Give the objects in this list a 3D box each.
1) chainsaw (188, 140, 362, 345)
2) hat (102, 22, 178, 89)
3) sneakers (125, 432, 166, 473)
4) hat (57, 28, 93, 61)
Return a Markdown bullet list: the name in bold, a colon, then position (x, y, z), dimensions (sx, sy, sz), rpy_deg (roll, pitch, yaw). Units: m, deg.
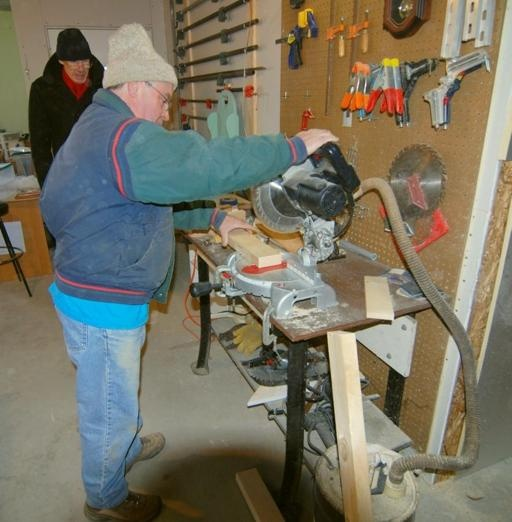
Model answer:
- **chainsaw**: position (0.055, -0.097, 1.709), dimensions (0.661, 0.663, 0.477), rpy_deg (-16, 20, -41)
- **hat**: position (-0.400, -0.701, 1.579), dimensions (0.231, 0.240, 0.190), rpy_deg (-6, 23, -20)
- **sneakers**: position (-0.542, 0.904, 2.229), dimensions (0.068, 0.111, 0.241), rpy_deg (16, 36, 26)
- **hat**: position (-1.265, -1.482, 3.165), dimensions (0.173, 0.169, 0.260), rpy_deg (-18, 44, -23)
